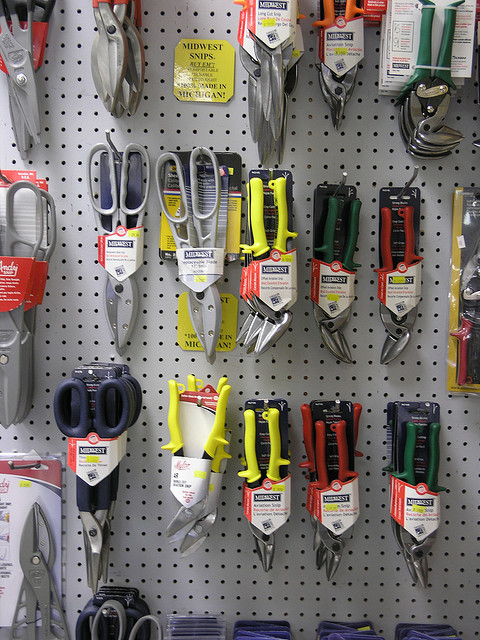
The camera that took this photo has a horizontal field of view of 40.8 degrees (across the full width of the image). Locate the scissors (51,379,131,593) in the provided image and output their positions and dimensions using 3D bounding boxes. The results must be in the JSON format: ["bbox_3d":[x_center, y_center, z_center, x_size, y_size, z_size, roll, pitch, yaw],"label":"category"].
[{"bbox_3d":[-0.227,0.256,1.013,0.076,0.057,0.383,-1,103,-9],"label":"scissors"}]

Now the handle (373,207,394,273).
[{"bbox_3d":[0.238,-0.130,1.059,0.015,0.024,0.110,0,89,-36],"label":"handle"}]

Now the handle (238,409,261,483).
[{"bbox_3d":[0.013,0.205,1.017,0.027,0.021,0.120,2,60,-8],"label":"handle"}]

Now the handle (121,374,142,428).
[{"bbox_3d":[-0.173,0.130,1.037,0.010,0.043,0.079,1,94,15],"label":"handle"}]

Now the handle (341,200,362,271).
[{"bbox_3d":[0.182,-0.145,1.044,0.020,0.020,0.111,7,97,9],"label":"handle"}]

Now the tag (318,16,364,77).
[{"bbox_3d":[0.159,-0.430,1.025,0.070,0.016,0.148,1,62,11],"label":"tag"}]

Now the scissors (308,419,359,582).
[{"bbox_3d":[0.152,0.289,1.049,0.079,0.121,0.260,-9,81,-1],"label":"scissors"}]

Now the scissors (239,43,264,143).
[{"bbox_3d":[0.021,-0.361,1.048,0.028,0.009,0.179,-11,71,29],"label":"scissors"}]

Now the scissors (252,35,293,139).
[{"bbox_3d":[0.064,-0.364,0.981,0.045,0.013,0.154,-9,82,-28],"label":"scissors"}]

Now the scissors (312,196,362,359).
[{"bbox_3d":[0.153,-0.075,1.053,0.046,0.180,0.245,2,80,3],"label":"scissors"}]

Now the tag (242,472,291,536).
[{"bbox_3d":[0.040,0.265,1.008,0.067,0.165,0.041,-3,30,-2],"label":"tag"}]

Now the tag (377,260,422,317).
[{"bbox_3d":[0.262,-0.044,1.061,0.076,0.022,0.156,-2,56,23],"label":"tag"}]

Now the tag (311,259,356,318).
[{"bbox_3d":[0.150,-0.039,1.041,0.072,0.023,0.151,2,50,6],"label":"tag"}]

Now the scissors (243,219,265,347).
[{"bbox_3d":[0.022,-0.069,1.015,0.011,0.021,0.228,-6,86,35],"label":"scissors"}]

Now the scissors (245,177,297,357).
[{"bbox_3d":[0.047,-0.125,1.074,0.104,0.406,0.064,-23,62,-10],"label":"scissors"}]

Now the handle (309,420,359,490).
[{"bbox_3d":[0.145,0.206,1.021,0.076,0.162,0.019,-4,43,9],"label":"handle"}]

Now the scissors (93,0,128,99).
[{"bbox_3d":[-0.195,-0.419,0.988,0.048,0.043,0.141,-4,82,1],"label":"scissors"}]

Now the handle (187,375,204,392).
[{"bbox_3d":[-0.073,0.103,1.044,0.021,0.017,0.042,0,87,3],"label":"handle"}]

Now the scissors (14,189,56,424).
[{"bbox_3d":[-0.327,-0.017,1.035,0.063,0.020,0.391,2,91,-6],"label":"scissors"}]

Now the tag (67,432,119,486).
[{"bbox_3d":[-0.221,0.207,0.978,0.049,0.007,0.088,0,89,-7],"label":"tag"}]

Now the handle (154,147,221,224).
[{"bbox_3d":[-0.084,-0.215,1.022,0.098,0.164,0.023,-6,57,-4],"label":"handle"}]

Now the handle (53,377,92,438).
[{"bbox_3d":[-0.253,0.132,0.982,0.054,0.034,0.090,2,81,2],"label":"handle"}]

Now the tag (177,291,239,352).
[{"bbox_3d":[-0.053,0.006,1.090,0.099,0.013,0.158,3,44,-3],"label":"tag"}]

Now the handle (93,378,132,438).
[{"bbox_3d":[-0.195,0.134,0.981,0.058,0.049,0.085,-1,81,1],"label":"handle"}]

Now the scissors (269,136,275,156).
[{"bbox_3d":[0.051,-0.285,1.047,0.002,0.044,0.008,24,35,34],"label":"scissors"}]

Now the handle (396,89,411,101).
[{"bbox_3d":[0.262,-0.364,1.040,0.007,0.030,0.010,28,75,-11],"label":"handle"}]

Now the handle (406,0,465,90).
[{"bbox_3d":[0.304,-0.439,1.015,0.070,0.016,0.197,2,96,-15],"label":"handle"}]

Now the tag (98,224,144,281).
[{"bbox_3d":[-0.192,-0.116,1.030,0.071,0.141,0.016,-5,46,-17],"label":"tag"}]

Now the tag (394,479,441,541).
[{"bbox_3d":[0.293,0.311,1.050,0.094,0.103,0.084,8,79,3],"label":"tag"}]

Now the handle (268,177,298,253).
[{"bbox_3d":[0.070,-0.152,1.030,0.044,0.109,0.119,-2,79,1],"label":"handle"}]

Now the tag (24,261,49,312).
[{"bbox_3d":[-0.318,-0.056,1.014,0.011,0.053,0.073,7,86,13],"label":"tag"}]

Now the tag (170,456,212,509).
[{"bbox_3d":[-0.076,0.253,0.980,0.066,0.017,0.118,6,27,-3],"label":"tag"}]

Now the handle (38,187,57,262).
[{"bbox_3d":[-0.311,-0.151,1.035,0.029,0.013,0.150,-2,66,-14],"label":"handle"}]

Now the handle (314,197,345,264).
[{"bbox_3d":[0.142,-0.142,1.049,0.037,0.162,0.021,0,51,3],"label":"handle"}]

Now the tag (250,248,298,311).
[{"bbox_3d":[0.051,-0.062,0.993,0.068,0.144,0.026,-1,44,0],"label":"tag"}]

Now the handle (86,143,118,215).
[{"bbox_3d":[-0.218,-0.216,1.019,0.043,0.013,0.171,-5,55,-15],"label":"handle"}]

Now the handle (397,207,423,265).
[{"bbox_3d":[0.277,-0.141,1.060,0.032,0.111,0.019,18,43,34],"label":"handle"}]
